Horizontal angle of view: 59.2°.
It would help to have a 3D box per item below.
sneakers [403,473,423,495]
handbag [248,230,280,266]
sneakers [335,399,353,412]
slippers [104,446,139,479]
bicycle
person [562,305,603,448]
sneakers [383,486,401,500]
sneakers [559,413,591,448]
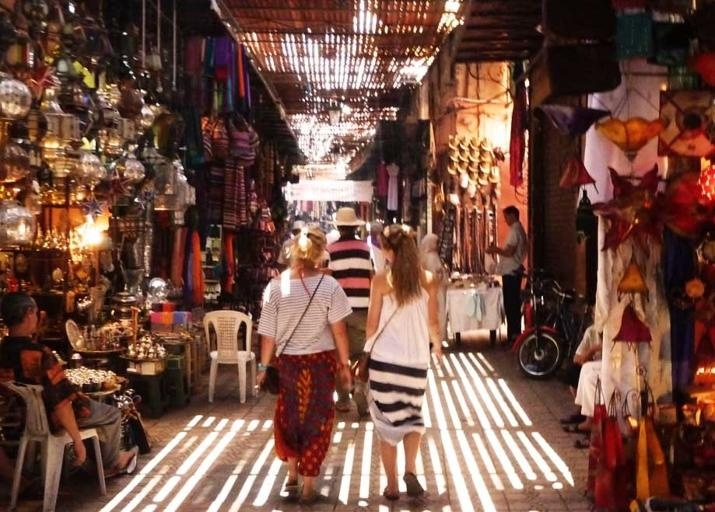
[{"bbox_3d":[0.416,1.735,4.721,0.091,0.198,0.071,-19,-6,4],"label":"sneakers"},{"bbox_3d":[-1.757,-0.149,11.588,0.352,0.574,0.165,-3,9,-35],"label":"handbag"},{"bbox_3d":[-0.153,1.642,6.844,0.136,0.155,0.089,-1,-3,26],"label":"sneakers"},{"bbox_3d":[-1.901,1.711,5.169,0.097,0.074,0.270,12,31,4],"label":"slippers"},{"bbox_3d":[2.408,0.909,7.759,1.056,0.784,0.738,0,1,0],"label":"bicycle"},{"bbox_3d":[1.985,1.063,5.614,0.334,1.335,1.769,1,4,19],"label":"person"},{"bbox_3d":[0.253,1.778,4.707,0.120,0.085,0.104,0,4,4],"label":"sneakers"},{"bbox_3d":[2.110,1.686,6.053,0.171,0.102,0.285,0,3,-8],"label":"sneakers"}]
